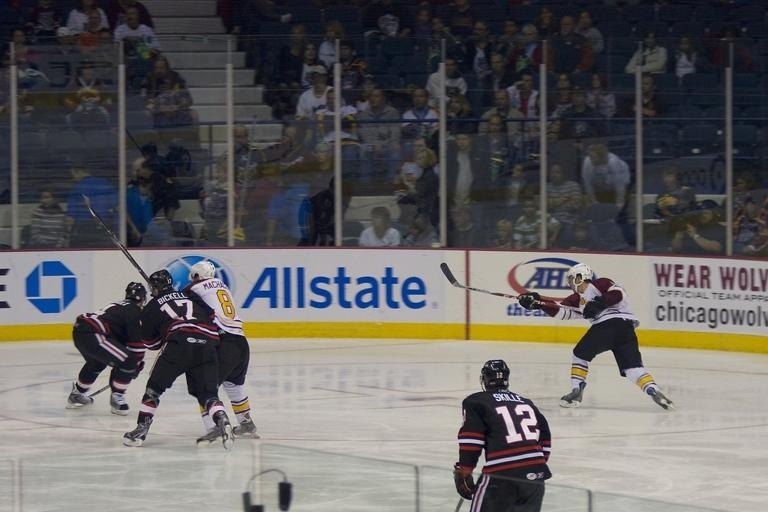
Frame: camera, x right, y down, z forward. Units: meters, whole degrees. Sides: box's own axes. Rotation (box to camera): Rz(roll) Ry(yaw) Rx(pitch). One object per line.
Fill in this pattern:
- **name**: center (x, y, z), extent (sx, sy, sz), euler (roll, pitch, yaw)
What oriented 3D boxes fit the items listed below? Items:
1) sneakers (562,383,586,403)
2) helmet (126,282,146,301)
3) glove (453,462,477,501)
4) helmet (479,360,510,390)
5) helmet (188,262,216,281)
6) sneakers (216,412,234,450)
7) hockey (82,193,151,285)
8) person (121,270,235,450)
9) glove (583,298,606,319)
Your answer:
- **sneakers**: center (2.111, 1.577, 16.885), extent (0.269, 0.231, 0.203), euler (1, 1, -1)
- **helmet**: center (-2.731, 0.409, 16.816), extent (0.229, 0.202, 0.235), euler (5, 17, 10)
- **glove**: center (0.697, 2.001, 12.990), extent (0.139, 0.237, 0.230), euler (-9, 11, -26)
- **helmet**: center (0.995, 1.081, 13.519), extent (0.289, 0.233, 0.292), euler (2, 5, -3)
- **helmet**: center (-1.918, 0.173, 15.967), extent (0.291, 0.204, 0.232), euler (7, 7, 41)
- **sneakers**: center (-1.584, 1.794, 15.193), extent (0.157, 0.353, 0.198), euler (-10, 3, -42)
- **hockey**: center (-3.543, -0.220, 20.067), extent (0.279, 1.597, 0.132), euler (-13, 36, 41)
- **person**: center (-2.021, 1.170, 15.434), extent (1.110, 1.618, 0.483), euler (1, 2, 16)
- **glove**: center (2.358, 0.598, 16.887), extent (0.237, 0.244, 0.117), euler (1, 1, 1)
